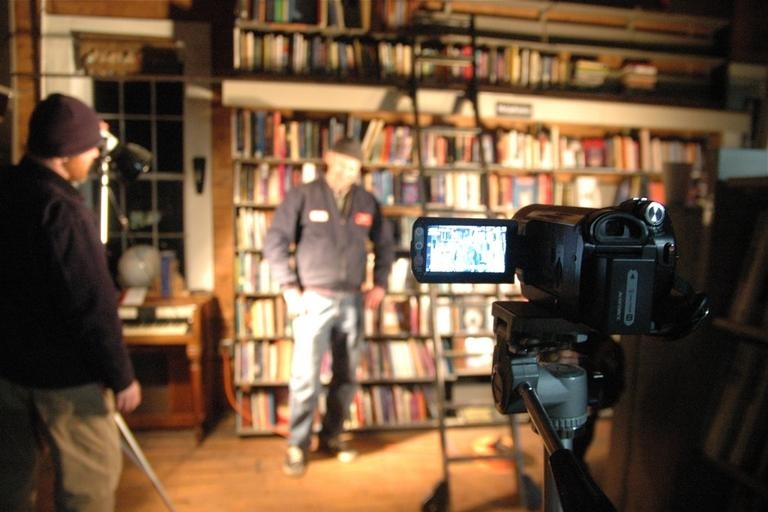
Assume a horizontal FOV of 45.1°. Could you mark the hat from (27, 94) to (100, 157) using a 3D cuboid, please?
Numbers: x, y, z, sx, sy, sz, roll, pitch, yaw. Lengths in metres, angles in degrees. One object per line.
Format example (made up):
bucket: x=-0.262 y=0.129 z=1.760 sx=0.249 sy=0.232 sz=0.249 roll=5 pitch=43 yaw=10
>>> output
hat: x=-1.827 y=-0.732 z=5.328 sx=0.351 sy=0.304 sz=0.367 roll=-2 pitch=5 yaw=0

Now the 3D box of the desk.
desk: x=-1.432 y=0.715 z=6.723 sx=0.871 sy=1.272 sz=0.817 roll=0 pitch=-2 yaw=-5

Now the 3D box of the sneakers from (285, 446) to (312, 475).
sneakers: x=-0.583 y=1.364 z=6.153 sx=0.131 sy=0.138 sz=0.184 roll=6 pitch=39 yaw=0

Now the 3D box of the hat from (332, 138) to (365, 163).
hat: x=-0.239 y=-0.725 z=6.277 sx=0.160 sy=0.124 sz=0.163 roll=3 pitch=5 yaw=10

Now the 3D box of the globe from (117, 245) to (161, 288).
globe: x=-1.733 y=0.071 z=6.546 sx=0.228 sy=0.248 sz=0.299 roll=7 pitch=-10 yaw=-27

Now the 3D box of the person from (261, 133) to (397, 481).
person: x=-0.359 y=0.303 z=6.306 sx=0.841 sy=2.203 sz=0.422 roll=-6 pitch=10 yaw=-33
